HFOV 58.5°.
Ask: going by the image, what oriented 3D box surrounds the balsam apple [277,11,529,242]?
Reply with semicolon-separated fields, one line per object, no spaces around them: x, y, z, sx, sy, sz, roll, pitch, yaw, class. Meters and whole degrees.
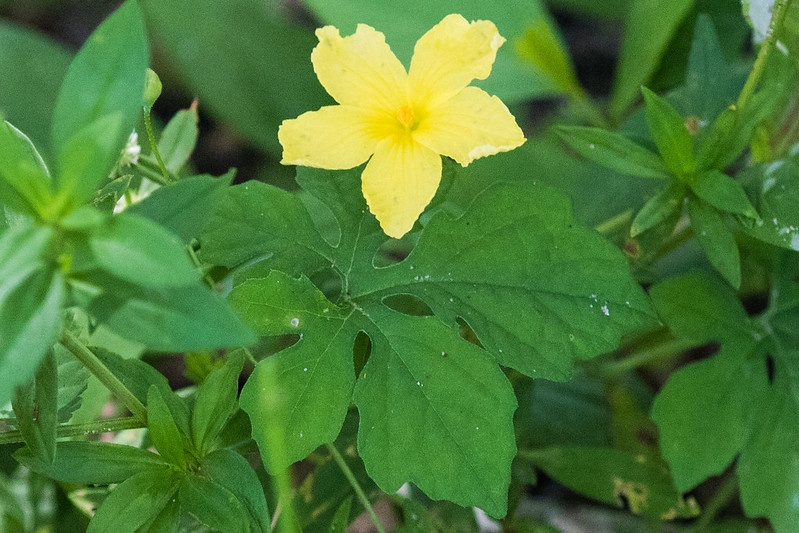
-0.003;-0.122;0.601;0.198;0.097;0.157;-14;59;7;balsam apple
